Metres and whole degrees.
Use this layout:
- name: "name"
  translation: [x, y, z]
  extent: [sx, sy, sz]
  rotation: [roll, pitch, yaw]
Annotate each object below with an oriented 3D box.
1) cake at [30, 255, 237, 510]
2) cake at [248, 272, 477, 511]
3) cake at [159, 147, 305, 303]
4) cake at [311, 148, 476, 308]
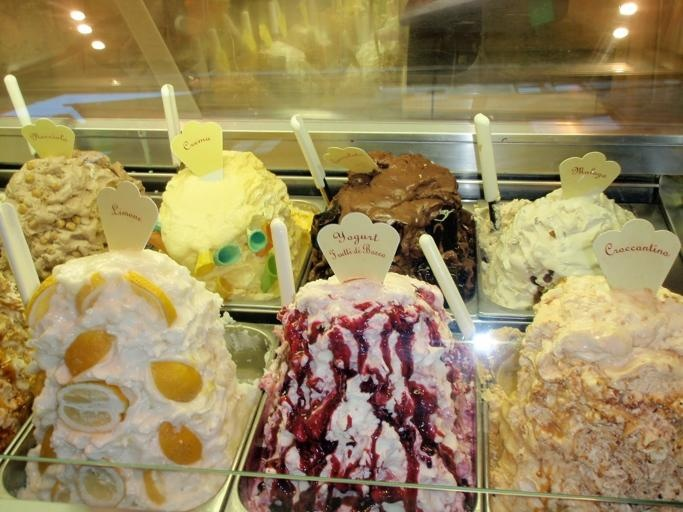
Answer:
- name: "cake"
  translation: [-0.472, 0.273, 1.521]
  extent: [0.559, 0.579, 0.594]
  rotation: [3, 15, 4]
- name: "cake"
  translation: [0.053, 0.377, 1.482]
  extent: [0.571, 0.531, 0.555]
  rotation: [1, 24, 4]
- name: "cake"
  translation: [-0.411, -0.090, 2.199]
  extent: [0.549, 0.395, 0.547]
  rotation: [-24, 34, -3]
- name: "cake"
  translation: [0.219, -0.120, 2.147]
  extent: [0.578, 0.416, 0.573]
  rotation: [-1, 4, 4]
